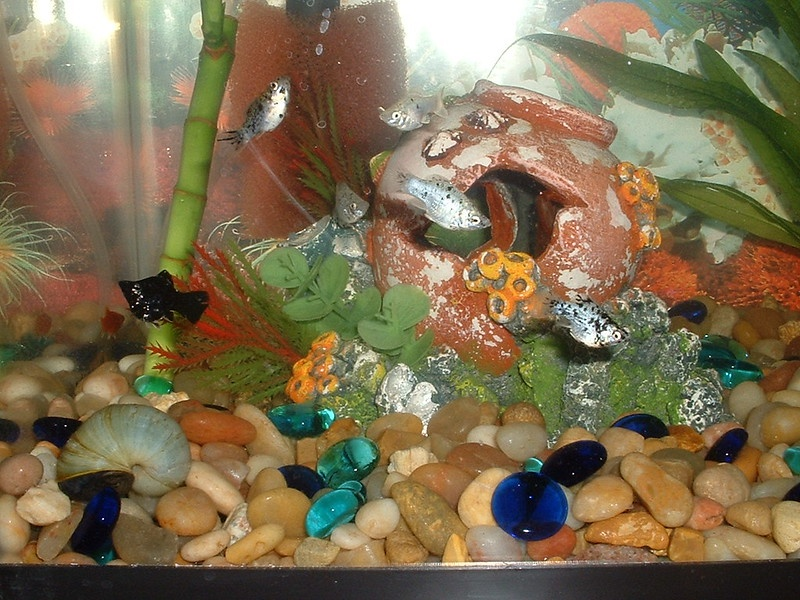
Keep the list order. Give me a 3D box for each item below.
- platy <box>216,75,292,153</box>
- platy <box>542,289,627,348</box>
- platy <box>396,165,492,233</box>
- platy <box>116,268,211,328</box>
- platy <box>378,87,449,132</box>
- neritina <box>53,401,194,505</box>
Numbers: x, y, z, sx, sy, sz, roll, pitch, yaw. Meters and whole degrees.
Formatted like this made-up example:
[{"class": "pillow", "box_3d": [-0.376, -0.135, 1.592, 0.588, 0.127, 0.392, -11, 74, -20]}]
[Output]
[{"class": "platy", "box_3d": [-0.524, -0.702, 2.844, 0.104, 0.403, 0.160, -9, 67, -59]}, {"class": "platy", "box_3d": [0.605, 0.061, 2.424, 0.093, 0.160, 0.330, -18, 33, -41]}, {"class": "platy", "box_3d": [0.171, -0.326, 2.556, 0.153, 0.187, 0.410, -21, 39, -38]}, {"class": "platy", "box_3d": [-0.832, 0.017, 2.654, 0.291, 0.254, 0.139, -1, 33, -13]}, {"class": "platy", "box_3d": [0.059, -0.676, 2.625, 0.285, 0.125, 0.092, -25, 36, -30]}, {"class": "neritina", "box_3d": [-0.831, 0.469, 2.265, 0.352, 0.282, 0.138, -24, 1, -14]}]
